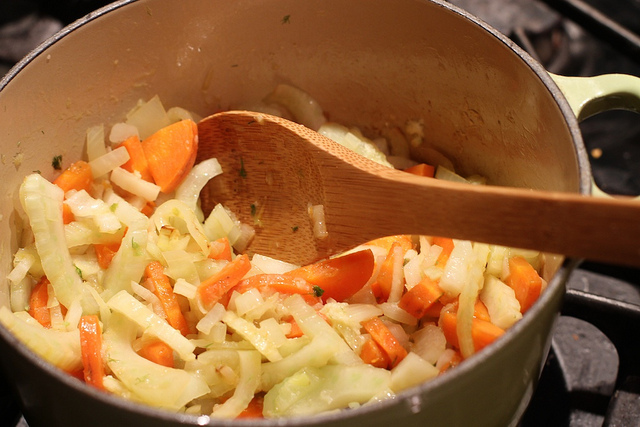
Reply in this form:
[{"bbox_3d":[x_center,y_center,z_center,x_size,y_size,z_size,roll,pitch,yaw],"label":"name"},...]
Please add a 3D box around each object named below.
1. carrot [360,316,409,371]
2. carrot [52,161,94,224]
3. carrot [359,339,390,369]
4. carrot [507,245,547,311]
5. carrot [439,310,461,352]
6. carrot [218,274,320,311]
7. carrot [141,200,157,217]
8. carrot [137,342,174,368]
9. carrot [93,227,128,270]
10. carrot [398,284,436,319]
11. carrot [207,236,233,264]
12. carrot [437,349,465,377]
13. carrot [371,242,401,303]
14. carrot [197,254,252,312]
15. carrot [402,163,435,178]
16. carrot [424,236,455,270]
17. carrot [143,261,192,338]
[{"bbox_3d":[0.157,0.376,1.735,0.104,0.054,0.155,-31,68,-19],"label":"carrot"},{"bbox_3d":[-0.753,-0.090,1.910,0.134,0.034,0.147,-46,39,11],"label":"carrot"},{"bbox_3d":[0.150,0.406,1.721,0.089,0.041,0.059,41,66,17],"label":"carrot"},{"bbox_3d":[0.567,0.182,1.752,0.047,0.134,0.151,-11,43,-6],"label":"carrot"},{"bbox_3d":[0.363,0.323,1.705,0.025,0.054,0.100,-20,89,-45],"label":"carrot"},{"bbox_3d":[-0.147,0.215,1.781,0.168,0.050,0.147,0,33,16],"label":"carrot"},{"bbox_3d":[-0.541,-0.018,1.941,0.030,0.022,0.050,30,64,13],"label":"carrot"},{"bbox_3d":[-0.446,0.380,1.662,0.081,0.078,0.064,23,87,-25],"label":"carrot"},{"bbox_3d":[-0.638,0.120,1.881,0.074,0.043,0.143,-6,54,11],"label":"carrot"},{"bbox_3d":[0.277,0.255,1.773,0.085,0.072,0.076,-36,68,-21],"label":"carrot"},{"bbox_3d":[-0.306,0.111,1.874,0.072,0.036,0.095,-5,33,-10],"label":"carrot"},{"bbox_3d":[0.361,0.413,1.678,0.071,0.066,0.028,-36,102,11],"label":"carrot"},{"bbox_3d":[0.196,0.172,1.883,0.039,0.086,0.177,15,81,30],"label":"carrot"},{"bbox_3d":[-0.277,0.197,1.805,0.201,0.055,0.079,-47,112,-28],"label":"carrot"},{"bbox_3d":[0.314,-0.134,1.941,0.026,0.050,0.037,12,97,-34],"label":"carrot"},{"bbox_3d":[0.355,0.122,1.870,0.029,0.096,0.094,-1,35,-10],"label":"carrot"},{"bbox_3d":[-0.440,0.241,1.764,0.071,0.047,0.321,-22,73,-8],"label":"carrot"}]
